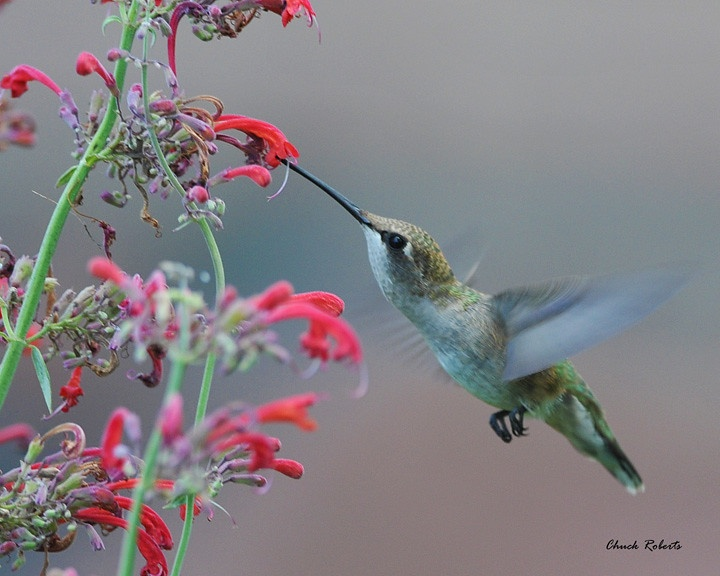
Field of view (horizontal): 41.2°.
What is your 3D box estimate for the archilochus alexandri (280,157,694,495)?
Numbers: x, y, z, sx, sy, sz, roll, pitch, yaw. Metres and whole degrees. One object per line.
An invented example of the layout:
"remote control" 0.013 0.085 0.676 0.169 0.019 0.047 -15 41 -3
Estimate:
"archilochus alexandri" 0.330 0.139 2.870 1.233 0.611 1.253 13 16 3
